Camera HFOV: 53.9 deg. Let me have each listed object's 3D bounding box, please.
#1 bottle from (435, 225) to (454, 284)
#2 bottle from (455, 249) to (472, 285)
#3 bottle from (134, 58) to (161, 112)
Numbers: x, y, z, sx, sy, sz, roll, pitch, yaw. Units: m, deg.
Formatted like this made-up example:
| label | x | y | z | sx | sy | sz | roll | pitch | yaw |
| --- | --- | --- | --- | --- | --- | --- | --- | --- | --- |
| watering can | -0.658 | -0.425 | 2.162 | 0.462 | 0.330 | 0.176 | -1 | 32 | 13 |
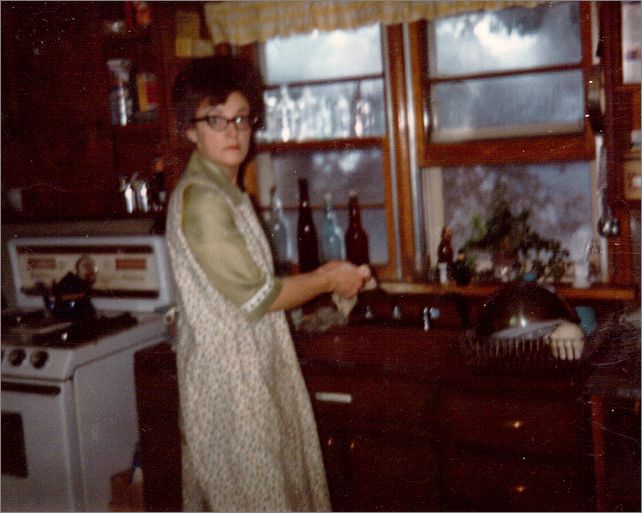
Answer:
| label | x | y | z | sx | sy | sz | roll | pitch | yaw |
| --- | --- | --- | --- | --- | --- | --- | --- | --- | --- |
| bottle | 0.363 | -0.007 | 1.844 | 0.053 | 0.168 | 0.028 | 0 | 7 | 23 |
| bottle | 0.408 | 0.031 | 1.804 | 0.015 | 0.097 | 0.060 | -7 | 8 | -39 |
| bottle | -0.487 | -0.485 | 1.779 | 0.053 | 0.164 | 0.154 | -3 | 5 | -10 |
